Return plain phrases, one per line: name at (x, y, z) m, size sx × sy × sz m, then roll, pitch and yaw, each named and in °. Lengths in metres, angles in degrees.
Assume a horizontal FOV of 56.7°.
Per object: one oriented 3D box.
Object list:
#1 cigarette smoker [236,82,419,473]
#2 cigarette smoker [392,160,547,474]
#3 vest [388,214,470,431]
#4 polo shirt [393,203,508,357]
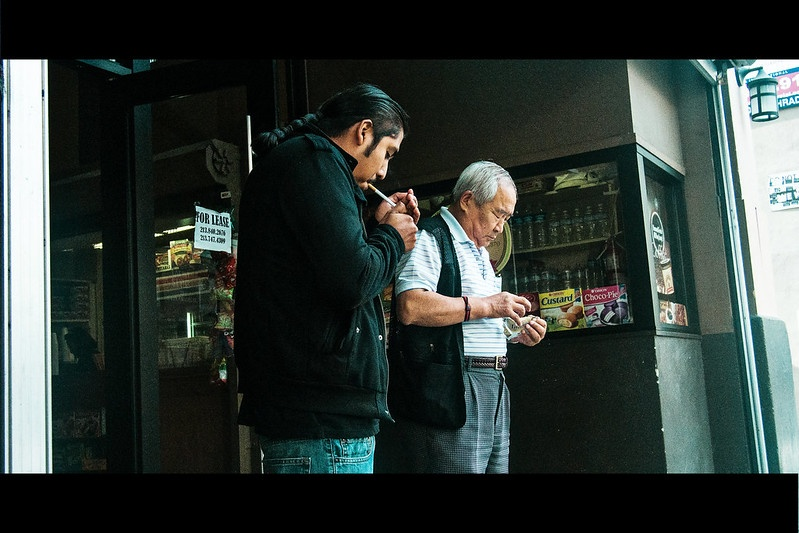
cigarette smoker at (-0.225, 0.014, 2.754) m, size 0.696 × 1.297 × 0.606 m, roll 3°, pitch 0°, yaw -8°
cigarette smoker at (0.323, 0.191, 3.305) m, size 0.609 × 1.354 × 0.619 m, roll 4°, pitch -5°, yaw 4°
vest at (0.123, 0.244, 3.145) m, size 0.397 × 0.778 × 0.343 m, roll -1°, pitch -7°, yaw 2°
polo shirt at (0.271, 0.065, 3.241) m, size 0.479 × 0.625 × 0.405 m, roll -4°, pitch -4°, yaw 17°
